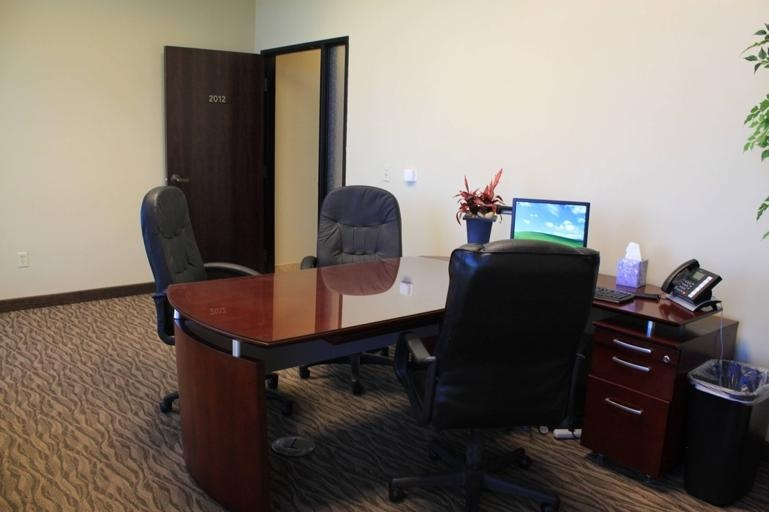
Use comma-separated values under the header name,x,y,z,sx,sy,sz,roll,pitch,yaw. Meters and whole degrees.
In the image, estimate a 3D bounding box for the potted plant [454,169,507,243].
name,x,y,z,sx,sy,sz,roll,pitch,yaw
potted plant,0.746,-0.399,4.153,0.374,0.533,0.686,3,14,9

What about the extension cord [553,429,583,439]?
name,x,y,z,sx,sy,sz,roll,pitch,yaw
extension cord,1.211,1.155,3.526,0.120,0.030,0.113,1,5,-5

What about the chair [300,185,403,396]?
name,x,y,z,sx,sy,sz,roll,pitch,yaw
chair,-0.226,0.214,4.062,0.904,1.440,0.970,13,16,42
